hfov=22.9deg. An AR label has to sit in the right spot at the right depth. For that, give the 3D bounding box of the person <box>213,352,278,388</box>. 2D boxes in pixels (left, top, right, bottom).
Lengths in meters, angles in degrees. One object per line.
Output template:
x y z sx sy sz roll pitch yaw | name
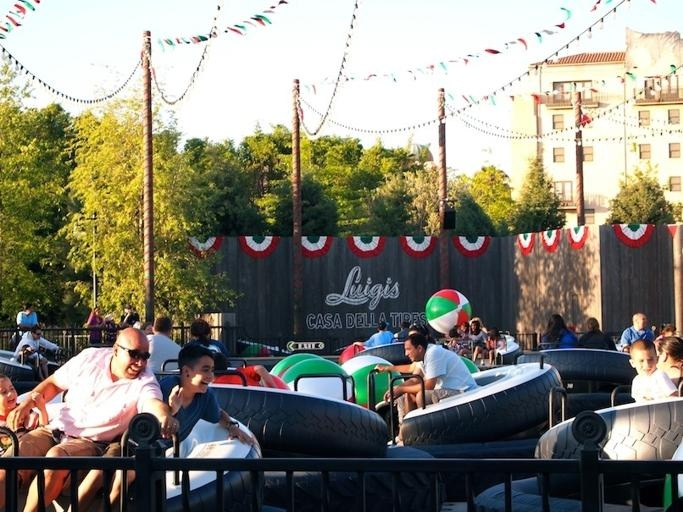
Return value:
-2.843 3.259 47.915 1.081 1.551 1.220 14 39 23 | person

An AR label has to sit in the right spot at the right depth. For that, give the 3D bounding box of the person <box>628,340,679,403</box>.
8.615 3.215 46.427 1.151 1.693 0.525 -2 -7 13 | person

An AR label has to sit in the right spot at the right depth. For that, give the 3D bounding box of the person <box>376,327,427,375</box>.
1.828 2.946 50.073 1.331 1.608 1.034 1 -2 -1 | person

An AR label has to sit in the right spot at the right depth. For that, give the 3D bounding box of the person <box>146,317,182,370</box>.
-5.310 2.674 49.639 0.925 1.625 0.987 -1 2 -22 | person

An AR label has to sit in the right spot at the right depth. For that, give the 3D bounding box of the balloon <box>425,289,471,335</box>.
3.822 2.097 60.182 1.356 1.636 1.523 -8 -17 -26 | balloon

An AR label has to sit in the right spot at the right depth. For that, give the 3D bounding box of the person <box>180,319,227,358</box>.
-4.135 2.472 50.595 1.131 1.277 1.089 -1 1 11 | person
